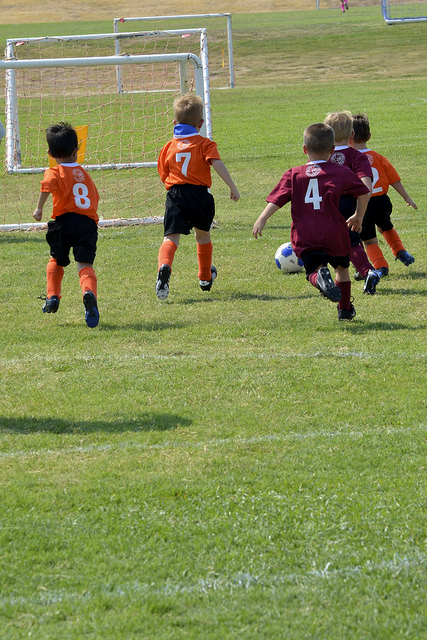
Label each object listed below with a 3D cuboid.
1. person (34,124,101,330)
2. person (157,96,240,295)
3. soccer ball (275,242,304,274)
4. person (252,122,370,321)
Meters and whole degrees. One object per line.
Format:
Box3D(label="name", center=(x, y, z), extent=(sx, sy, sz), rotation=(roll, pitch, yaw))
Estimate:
Box3D(label="person", center=(-0.847, -0.556, 6.080), extent=(0.373, 1.168, 0.610), rotation=(-3, 7, -6))
Box3D(label="person", center=(-0.119, -0.778, 6.536), extent=(0.483, 1.223, 0.573), rotation=(-2, 7, -6))
Box3D(label="soccer ball", center=(0.520, -0.431, 7.326), extent=(0.196, 0.211, 0.243), rotation=(-1, 6, 7))
Box3D(label="person", center=(0.539, -0.515, 5.676), extent=(0.685, 1.085, 0.466), rotation=(-3, 7, -13))
